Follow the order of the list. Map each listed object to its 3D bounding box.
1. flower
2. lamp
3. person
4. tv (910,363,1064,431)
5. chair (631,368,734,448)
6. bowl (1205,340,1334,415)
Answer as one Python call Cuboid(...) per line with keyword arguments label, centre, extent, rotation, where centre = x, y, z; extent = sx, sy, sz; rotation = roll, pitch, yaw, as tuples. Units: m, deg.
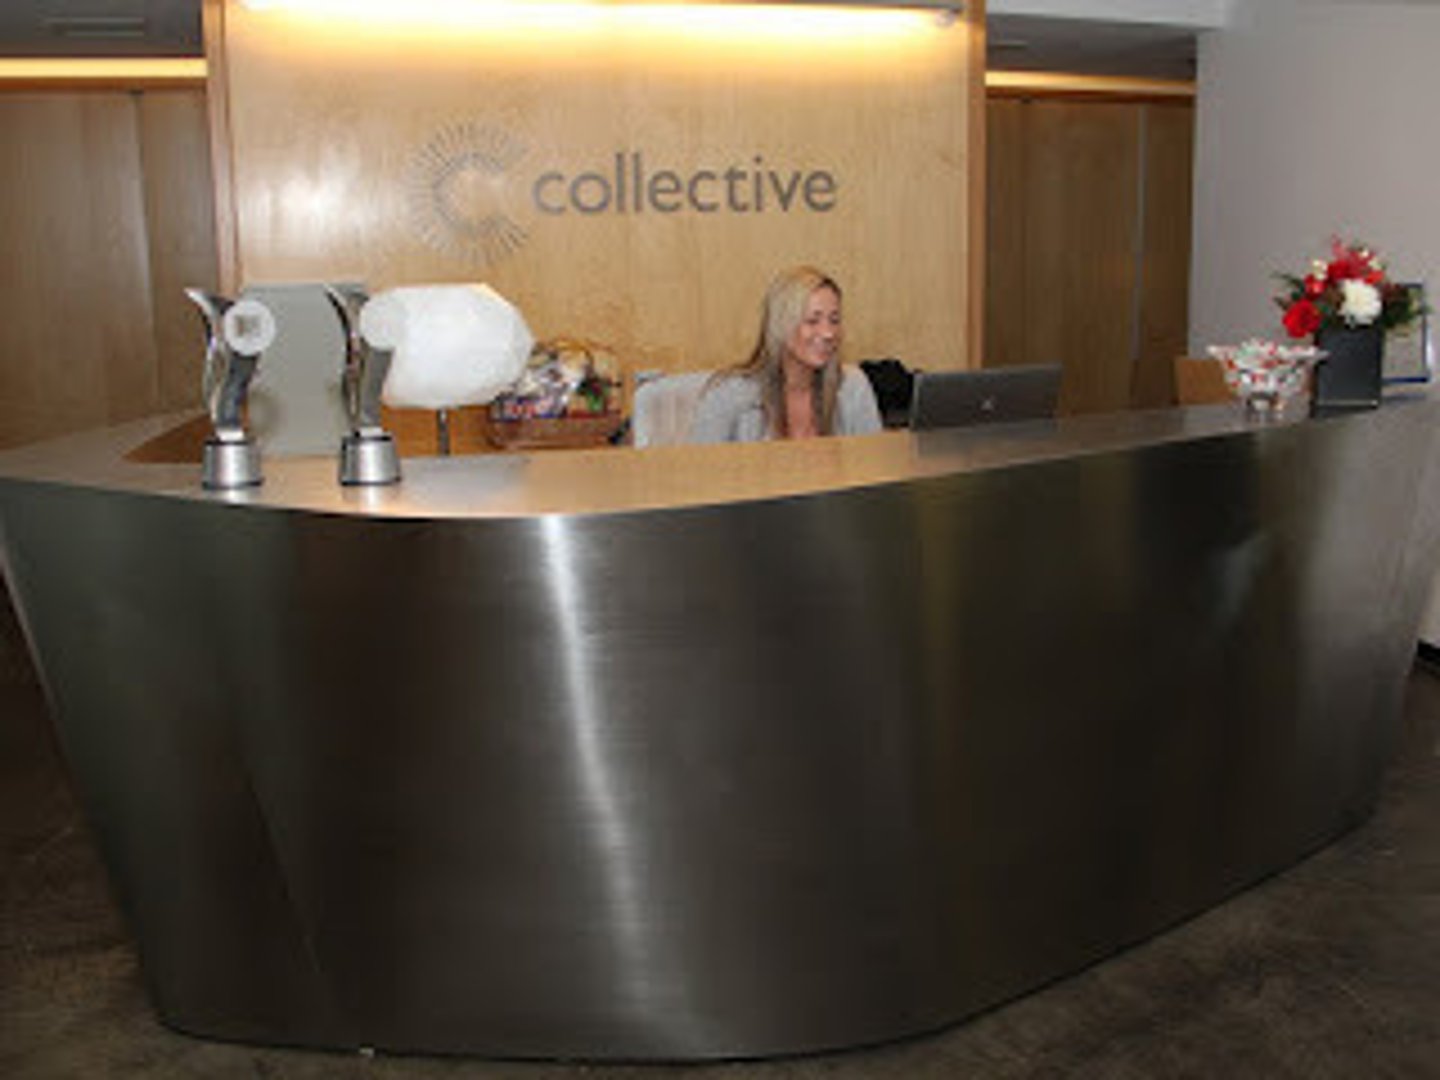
Cuboid(label="flower", centre=(1.899, -0.729, 3.568), extent=(0.461, 0.360, 0.491), rotation=(0, -3, -6))
Cuboid(label="lamp", centre=(-0.565, -0.367, 2.463), extent=(0.305, 0.474, 0.247), rotation=(0, 20, -12))
Cuboid(label="person", centre=(0.198, -0.692, 4.254), extent=(0.706, 0.614, 0.376), rotation=(-19, 34, -28))
Cuboid(label="tv", centre=(0.758, -0.403, 3.166), extent=(0.522, 0.157, 0.176), rotation=(-12, 19, -34))
Cuboid(label="chair", centre=(-0.161, -0.509, 4.133), extent=(0.286, 0.424, 0.312), rotation=(-2, 13, -12))
Cuboid(label="bowl", centre=(1.562, -0.463, 3.180), extent=(0.302, 0.179, 0.238), rotation=(-9, 17, -26))
